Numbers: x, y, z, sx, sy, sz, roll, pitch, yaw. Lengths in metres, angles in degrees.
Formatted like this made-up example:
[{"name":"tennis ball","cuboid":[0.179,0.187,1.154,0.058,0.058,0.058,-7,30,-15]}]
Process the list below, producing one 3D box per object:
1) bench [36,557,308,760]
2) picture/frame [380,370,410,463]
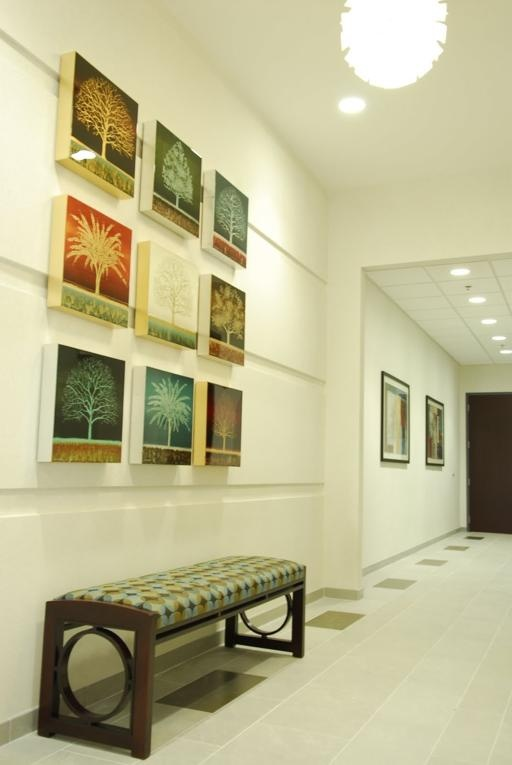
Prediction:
[{"name":"bench","cuboid":[-0.194,1.137,2.456,0.549,0.515,1.913,-2,-13,21]},{"name":"picture/frame","cuboid":[1.800,0.470,6.886,0.035,0.900,1.098,-1,-10,25]}]
